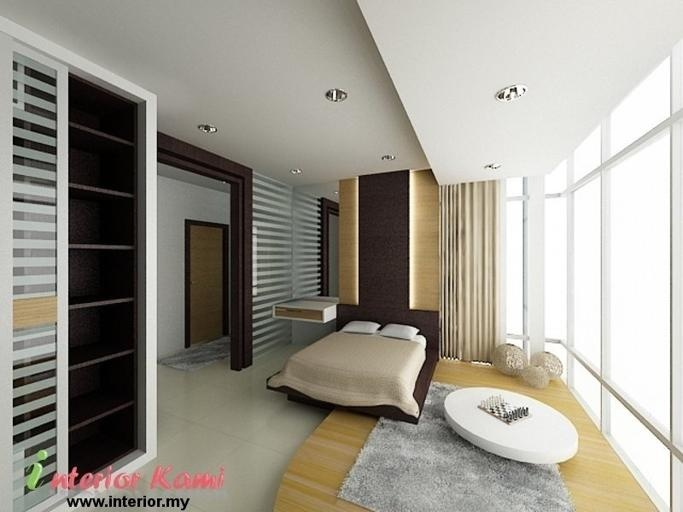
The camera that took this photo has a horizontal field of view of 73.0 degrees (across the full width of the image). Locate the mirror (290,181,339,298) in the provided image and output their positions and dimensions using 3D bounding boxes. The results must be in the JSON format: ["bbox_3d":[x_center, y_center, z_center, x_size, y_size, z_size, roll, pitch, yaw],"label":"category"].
[{"bbox_3d":[-0.404,-0.222,6.748,0.757,1.210,0.193,-3,2,28],"label":"mirror"}]

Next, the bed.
[{"bbox_3d":[0.283,1.040,5.195,1.792,0.785,1.951,5,9,28],"label":"bed"}]

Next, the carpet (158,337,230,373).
[{"bbox_3d":[-1.913,1.356,6.347,0.828,0.101,1.203,-4,2,21],"label":"carpet"}]
